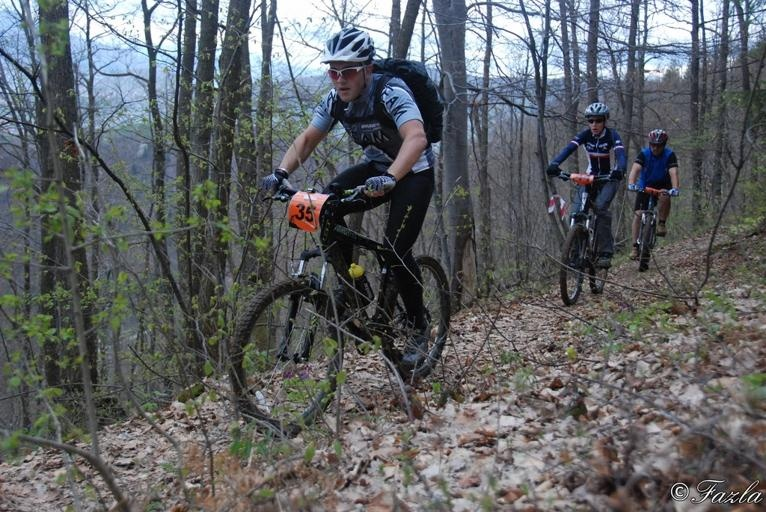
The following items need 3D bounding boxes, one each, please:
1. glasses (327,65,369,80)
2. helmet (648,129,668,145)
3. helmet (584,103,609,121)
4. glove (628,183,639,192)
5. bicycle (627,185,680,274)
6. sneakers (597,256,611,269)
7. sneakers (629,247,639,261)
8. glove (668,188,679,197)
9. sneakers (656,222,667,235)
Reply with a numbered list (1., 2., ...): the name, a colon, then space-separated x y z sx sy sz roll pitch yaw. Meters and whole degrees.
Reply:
1. glasses: -0.418 -2.141 8.324 0.440 0.174 0.106 -3 13 -3
2. helmet: 4.988 -2.148 12.986 0.277 0.419 0.321 -4 -11 28
3. helmet: 3.604 -2.449 12.056 0.263 0.233 0.389 3 9 18
4. glove: 4.390 -1.219 12.562 0.133 0.147 0.139 -4 -3 45
5. bicycle: 4.753 -0.524 12.729 1.100 1.524 0.832 -14 17 -39
6. sneakers: 3.604 0.110 11.675 0.182 0.205 0.204 1 -2 21
7. sneakers: 4.493 -0.057 12.846 0.148 0.256 0.256 4 7 29
8. glove: 5.032 -1.110 12.419 0.167 0.146 0.385 3 15 20
9. sneakers: 5.037 -0.479 12.914 0.133 0.203 0.459 -2 -14 19
